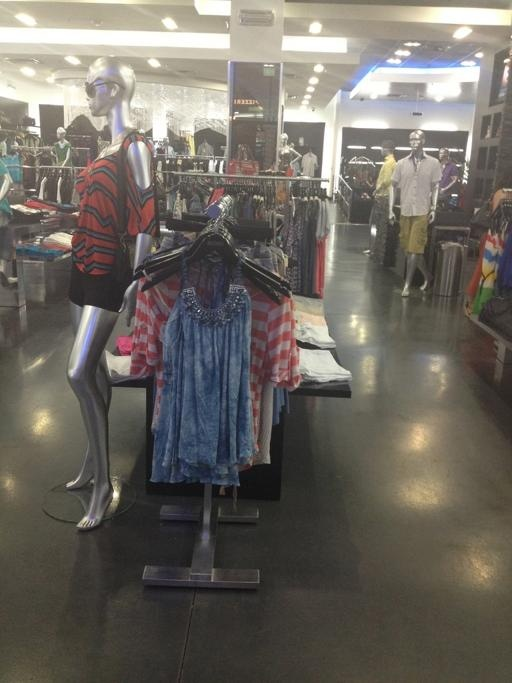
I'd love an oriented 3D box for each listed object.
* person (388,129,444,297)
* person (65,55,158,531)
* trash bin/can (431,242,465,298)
[{"bbox_3d":[2.032,-1.598,6.188,0.581,2.051,0.667,3,8,11],"label":"person"},{"bbox_3d":[-0.504,-0.152,1.685,0.318,1.673,0.650,-2,8,-22],"label":"person"},{"bbox_3d":[2.623,-0.972,6.546,0.395,0.821,0.435,0,-8,14],"label":"trash bin/can"}]
